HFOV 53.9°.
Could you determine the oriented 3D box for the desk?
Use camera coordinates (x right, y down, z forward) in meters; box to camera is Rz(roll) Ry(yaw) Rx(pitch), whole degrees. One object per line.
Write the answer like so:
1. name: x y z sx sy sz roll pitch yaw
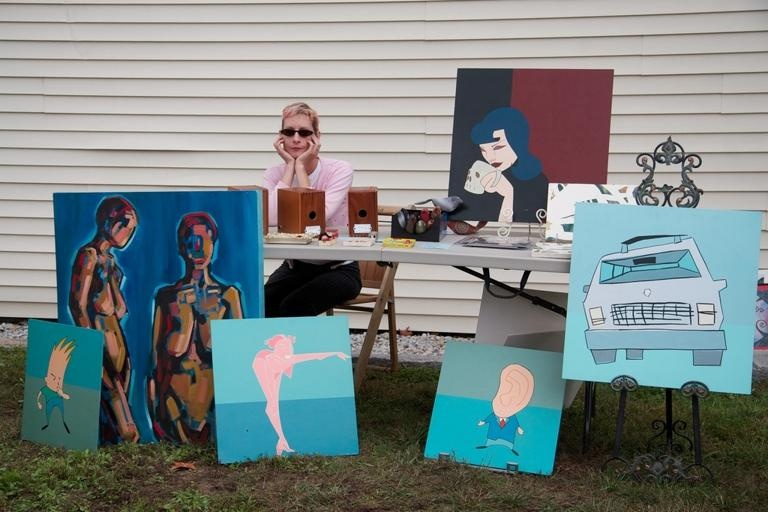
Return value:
1. desk: 0.323 0.424 4.913 1.847 1.104 0.922 2 2 15
